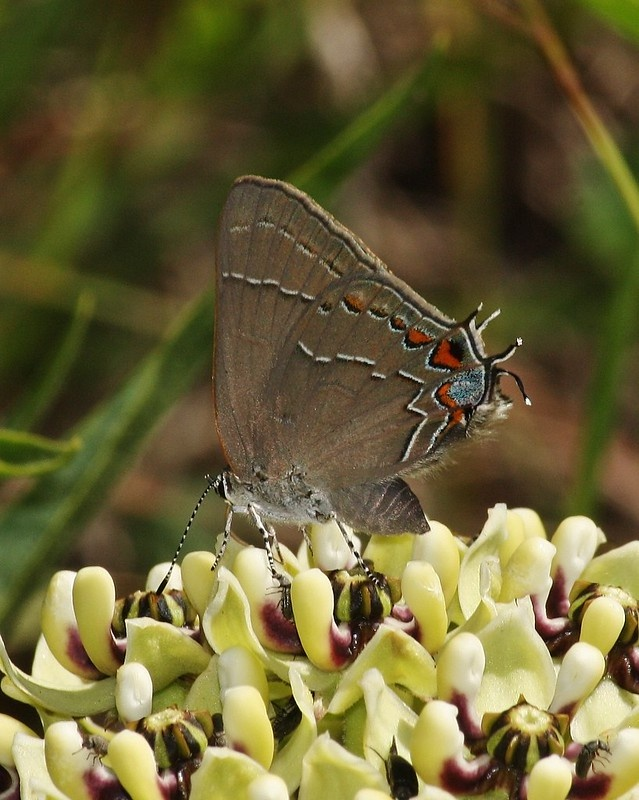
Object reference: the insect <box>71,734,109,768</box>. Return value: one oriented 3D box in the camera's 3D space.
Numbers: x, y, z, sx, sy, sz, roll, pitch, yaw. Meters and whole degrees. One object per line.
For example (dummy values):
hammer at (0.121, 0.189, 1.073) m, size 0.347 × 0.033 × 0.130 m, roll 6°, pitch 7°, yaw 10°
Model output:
insect at (-0.304, 0.465, 1.273) m, size 0.042 × 0.036 × 0.057 m, roll 6°, pitch -15°, yaw -7°
